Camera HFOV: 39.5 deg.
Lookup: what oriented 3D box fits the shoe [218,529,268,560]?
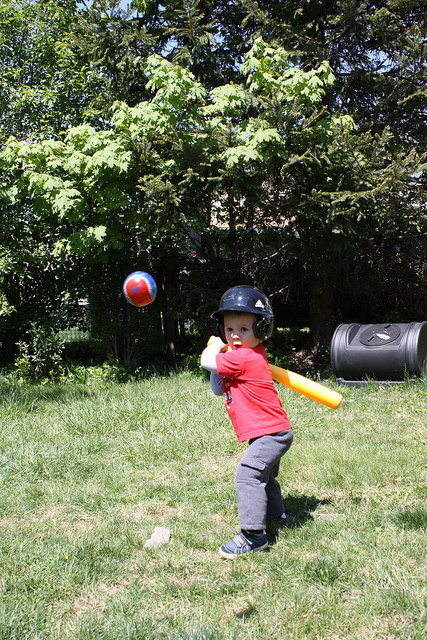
[{"bbox_3d":[0.138,1.046,2.770,0.268,0.115,0.096,-1,8,-22],"label":"shoe"}]

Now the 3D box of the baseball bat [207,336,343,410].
[{"bbox_3d":[0.549,0.427,4.722,1.247,0.173,0.171,26,-24,7],"label":"baseball bat"}]
